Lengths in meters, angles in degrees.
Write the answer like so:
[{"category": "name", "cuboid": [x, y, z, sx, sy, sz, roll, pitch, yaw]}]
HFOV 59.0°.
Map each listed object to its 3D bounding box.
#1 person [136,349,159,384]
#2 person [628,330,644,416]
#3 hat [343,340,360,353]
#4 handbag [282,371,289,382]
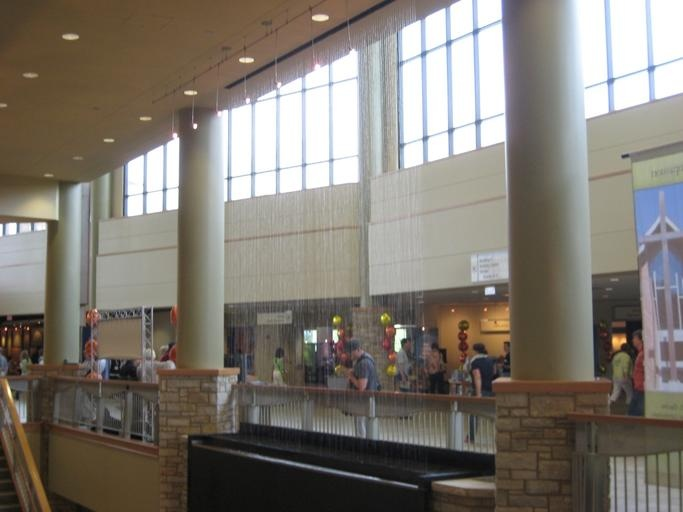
[{"category": "person", "cuboid": [-3.469, 1.940, 10.765, 0.321, 0.600, 1.191, 1, -11, -19]}, {"category": "person", "cuboid": [4.326, 1.708, 8.889, 0.253, 1.234, 1.170, -5, -10, 24]}, {"category": "hat", "cuboid": [0.124, 1.033, 6.889, 0.142, 0.129, 0.124, 4, 13, 29]}, {"category": "handbag", "cuboid": [-0.745, 1.604, 8.073, 0.088, 0.146, 0.135, 3, -4, -25]}]
